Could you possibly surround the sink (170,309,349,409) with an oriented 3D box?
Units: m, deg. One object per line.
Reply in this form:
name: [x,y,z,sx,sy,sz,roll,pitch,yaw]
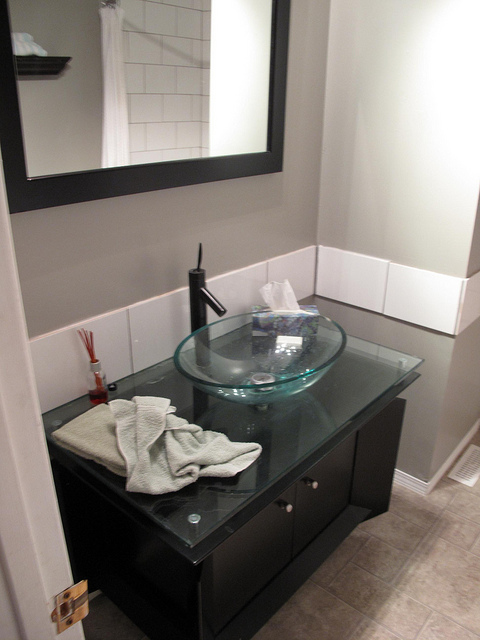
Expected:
sink: [0.075,0.143,1.395,0.481,0.186,0.363,-10,26,-14]
